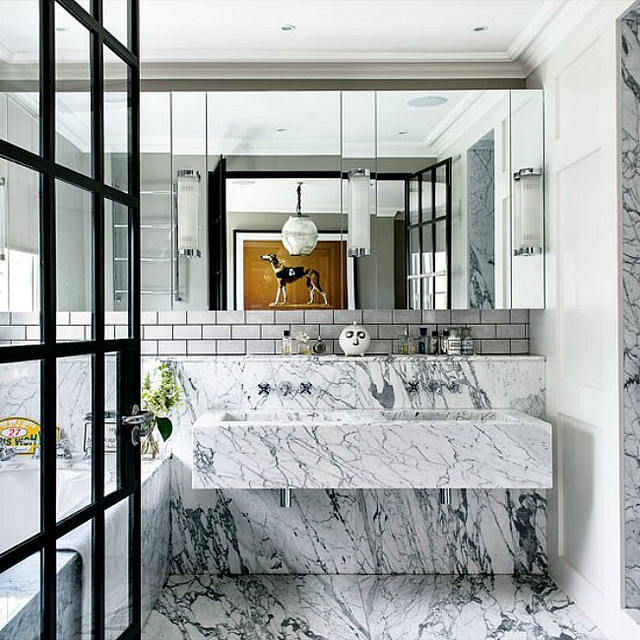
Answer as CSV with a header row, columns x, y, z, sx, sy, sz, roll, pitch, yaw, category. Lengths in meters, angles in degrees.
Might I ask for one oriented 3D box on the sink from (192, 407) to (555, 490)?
x,y,z,sx,sy,sz,roll,pitch,yaw,category
0.240,0.615,3.030,1.649,0.417,0.411,-5,2,0,sink
